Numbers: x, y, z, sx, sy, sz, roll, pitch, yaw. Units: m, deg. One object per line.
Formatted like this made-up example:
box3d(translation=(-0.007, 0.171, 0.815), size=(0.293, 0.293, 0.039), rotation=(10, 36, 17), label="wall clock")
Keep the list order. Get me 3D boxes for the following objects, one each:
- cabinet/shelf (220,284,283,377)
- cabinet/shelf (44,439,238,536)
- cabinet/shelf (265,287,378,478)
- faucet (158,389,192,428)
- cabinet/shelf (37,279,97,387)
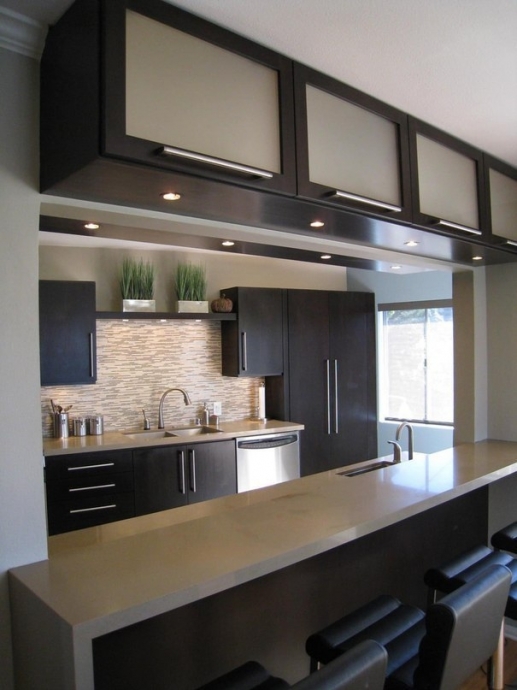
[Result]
box3d(translation=(-0.020, -0.129, 4.943), size=(0.412, 0.801, 0.350), rotation=(-3, 8, -19), label="cabinet/shelf")
box3d(translation=(-0.822, 0.931, 4.054), size=(1.301, 0.499, 0.372), rotation=(-1, 5, -31), label="cabinet/shelf")
box3d(translation=(0.662, 0.322, 5.570), size=(0.907, 1.825, 0.602), rotation=(-7, 16, -13), label="cabinet/shelf")
box3d(translation=(-0.698, 0.528, 4.699), size=(0.326, 0.332, 0.207), rotation=(0, -2, -25), label="faucet")
box3d(translation=(-1.451, -0.201, 4.053), size=(0.499, 0.816, 0.510), rotation=(2, -24, -28), label="cabinet/shelf")
